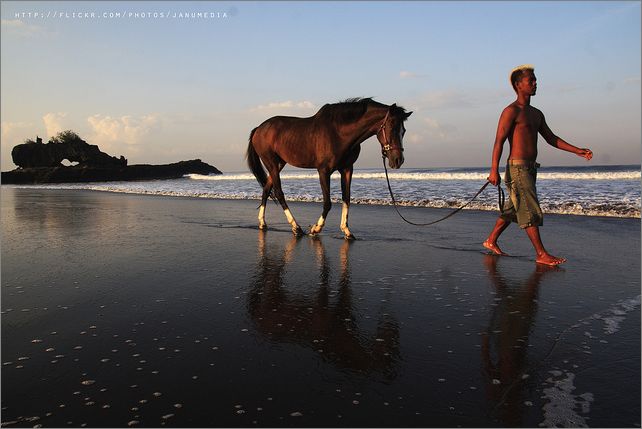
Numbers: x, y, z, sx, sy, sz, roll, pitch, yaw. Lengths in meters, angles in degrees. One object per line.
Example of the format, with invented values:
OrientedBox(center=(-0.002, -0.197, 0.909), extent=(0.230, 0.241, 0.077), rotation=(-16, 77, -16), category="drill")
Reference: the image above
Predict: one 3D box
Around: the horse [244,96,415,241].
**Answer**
OrientedBox(center=(-0.036, -0.902, 9.193), extent=(1.114, 2.539, 3.596), rotation=(-10, 12, -40), category="horse")
